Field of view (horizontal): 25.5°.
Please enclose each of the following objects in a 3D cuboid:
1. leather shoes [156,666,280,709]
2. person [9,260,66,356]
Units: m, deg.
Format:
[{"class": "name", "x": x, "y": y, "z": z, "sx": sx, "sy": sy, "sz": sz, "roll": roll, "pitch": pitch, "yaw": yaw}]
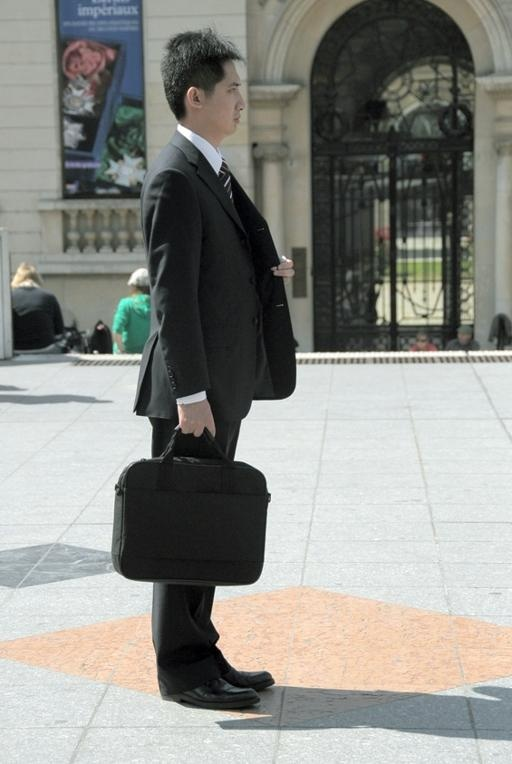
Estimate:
[{"class": "leather shoes", "x": -0.094, "y": 0.892, "z": 3.276, "sx": 0.195, "sy": 0.062, "sz": 0.143, "roll": -5, "pitch": 3, "yaw": 11}, {"class": "person", "x": -2.310, "y": -0.733, "z": 11.956, "sx": 0.526, "sy": 0.886, "sz": 0.917, "roll": -3, "pitch": 8, "yaw": -10}]
